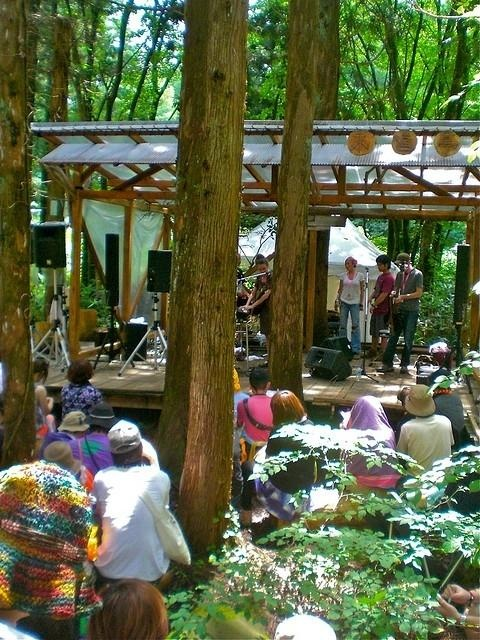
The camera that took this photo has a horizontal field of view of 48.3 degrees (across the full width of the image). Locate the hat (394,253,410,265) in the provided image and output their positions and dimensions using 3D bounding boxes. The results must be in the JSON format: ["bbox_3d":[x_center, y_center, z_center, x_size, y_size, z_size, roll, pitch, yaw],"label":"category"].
[{"bbox_3d":[2.543,-0.987,8.361,0.164,0.140,0.242,-1,36,10],"label":"hat"}]

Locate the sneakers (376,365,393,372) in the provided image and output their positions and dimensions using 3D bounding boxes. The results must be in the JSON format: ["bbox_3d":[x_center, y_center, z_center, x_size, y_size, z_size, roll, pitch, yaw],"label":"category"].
[{"bbox_3d":[2.360,0.795,8.787,0.246,0.098,0.105,2,3,2],"label":"sneakers"}]

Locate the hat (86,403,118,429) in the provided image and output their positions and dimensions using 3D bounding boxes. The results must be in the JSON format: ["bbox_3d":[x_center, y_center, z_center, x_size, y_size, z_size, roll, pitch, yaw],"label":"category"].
[{"bbox_3d":[-1.007,0.706,3.900,0.158,0.108,0.203,7,15,-1],"label":"hat"}]

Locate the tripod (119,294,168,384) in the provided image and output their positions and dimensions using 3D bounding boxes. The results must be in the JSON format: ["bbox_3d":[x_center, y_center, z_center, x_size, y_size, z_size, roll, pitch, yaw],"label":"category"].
[{"bbox_3d":[-1.442,0.247,9.202,1.145,1.367,1.110,-2,-14,1],"label":"tripod"}]

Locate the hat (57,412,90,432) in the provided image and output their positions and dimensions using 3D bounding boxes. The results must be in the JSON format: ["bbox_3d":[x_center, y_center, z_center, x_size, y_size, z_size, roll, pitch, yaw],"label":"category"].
[{"bbox_3d":[-1.203,0.741,3.908,0.156,0.094,0.171,4,-4,0],"label":"hat"}]

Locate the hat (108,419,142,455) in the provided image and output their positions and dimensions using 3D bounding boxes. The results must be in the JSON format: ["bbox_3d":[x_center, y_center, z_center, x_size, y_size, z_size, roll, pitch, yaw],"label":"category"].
[{"bbox_3d":[-0.646,0.662,3.050,0.132,0.143,0.190,16,35,37],"label":"hat"}]

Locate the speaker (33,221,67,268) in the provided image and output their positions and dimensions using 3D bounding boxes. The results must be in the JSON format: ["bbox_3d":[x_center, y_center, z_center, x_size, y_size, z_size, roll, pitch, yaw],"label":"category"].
[{"bbox_3d":[-3.174,-1.243,8.937,0.642,0.688,0.634,-9,15,-42],"label":"speaker"}]

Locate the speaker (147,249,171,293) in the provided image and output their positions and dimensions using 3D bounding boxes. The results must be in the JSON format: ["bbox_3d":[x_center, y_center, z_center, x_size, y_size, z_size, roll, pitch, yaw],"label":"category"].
[{"bbox_3d":[-1.298,-0.780,8.804,0.527,0.696,0.498,3,-5,-31],"label":"speaker"}]

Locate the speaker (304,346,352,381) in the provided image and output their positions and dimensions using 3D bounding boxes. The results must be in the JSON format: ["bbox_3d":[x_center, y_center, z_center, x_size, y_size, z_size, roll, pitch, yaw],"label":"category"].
[{"bbox_3d":[1.393,0.658,8.379,0.526,0.549,0.638,-10,12,-42],"label":"speaker"}]
